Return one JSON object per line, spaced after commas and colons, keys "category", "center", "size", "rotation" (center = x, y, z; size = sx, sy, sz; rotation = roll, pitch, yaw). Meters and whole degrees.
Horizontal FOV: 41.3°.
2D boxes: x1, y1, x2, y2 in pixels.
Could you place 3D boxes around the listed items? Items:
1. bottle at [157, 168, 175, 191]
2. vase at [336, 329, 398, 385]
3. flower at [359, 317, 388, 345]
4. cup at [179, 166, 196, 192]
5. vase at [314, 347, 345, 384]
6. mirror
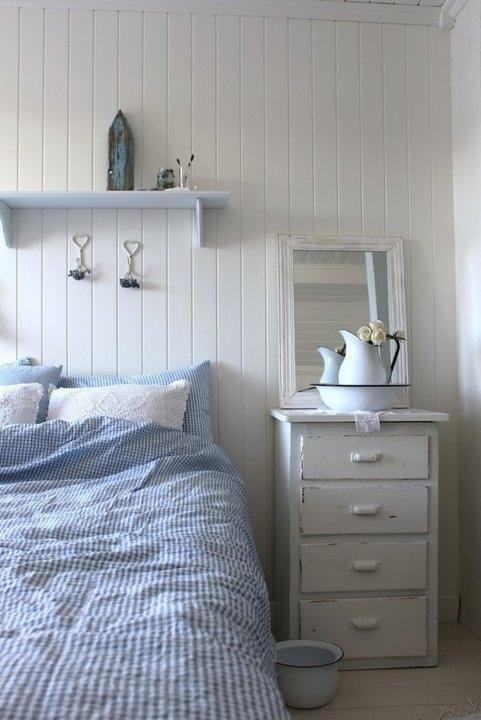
{"category": "bottle", "center": [-0.259, -0.635, 2.294], "size": [0.069, 0.089, 0.076], "rotation": [1, 0, 0]}
{"category": "vase", "center": [0.443, 0.023, 2.173], "size": [0.207, 0.245, 0.157], "rotation": [2, -13, 1]}
{"category": "flower", "center": [0.456, -0.092, 2.161], "size": [0.079, 0.093, 0.056], "rotation": [-4, -9, 36]}
{"category": "cup", "center": [-0.198, -0.671, 2.348], "size": [0.053, 0.089, 0.084], "rotation": [3, 2, 21]}
{"category": "vase", "center": [0.323, 0.019, 2.267], "size": [0.118, 0.130, 0.085], "rotation": [7, -1, -4]}
{"category": "mirror", "center": [0.348, -0.128, 2.331], "size": [0.565, 0.808, 0.039], "rotation": [1, -12, -6]}
